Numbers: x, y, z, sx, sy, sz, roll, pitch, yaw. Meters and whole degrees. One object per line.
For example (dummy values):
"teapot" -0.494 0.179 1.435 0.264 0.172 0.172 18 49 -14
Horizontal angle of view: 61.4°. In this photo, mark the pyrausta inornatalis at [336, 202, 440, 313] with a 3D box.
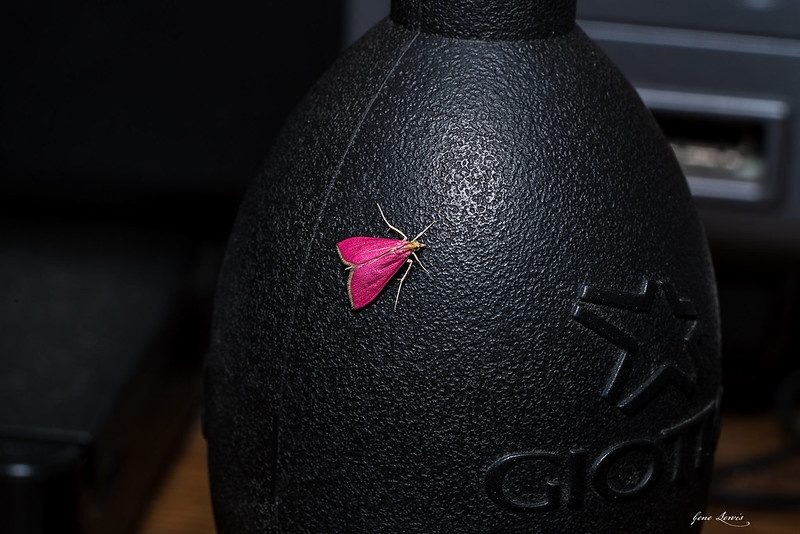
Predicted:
"pyrausta inornatalis" -0.005 -0.002 0.437 0.087 0.058 0.018 -3 13 -39
